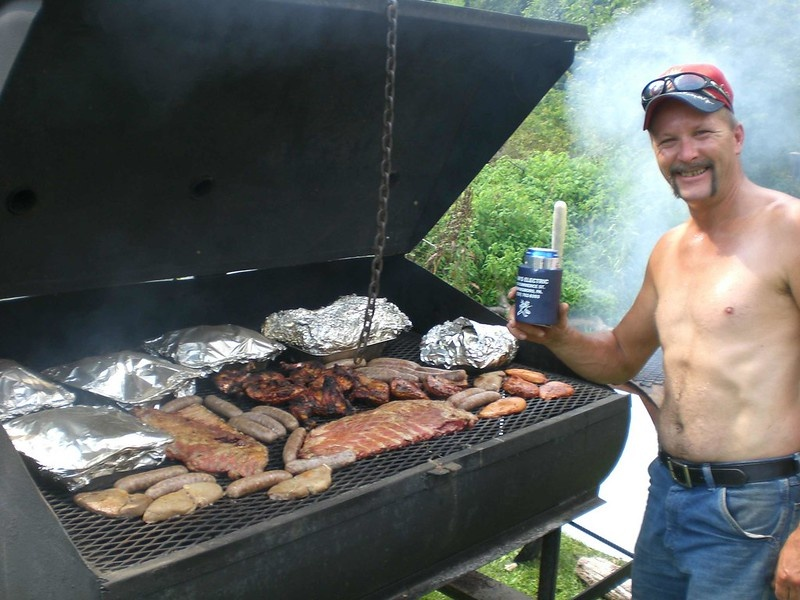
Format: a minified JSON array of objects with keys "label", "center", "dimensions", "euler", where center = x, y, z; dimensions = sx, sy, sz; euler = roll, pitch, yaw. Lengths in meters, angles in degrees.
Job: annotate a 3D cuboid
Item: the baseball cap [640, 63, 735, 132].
[{"label":"baseball cap","center":[1.061,-0.778,2.571],"dimensions":[0.363,0.156,0.268],"euler":[9,-12,-43]}]
